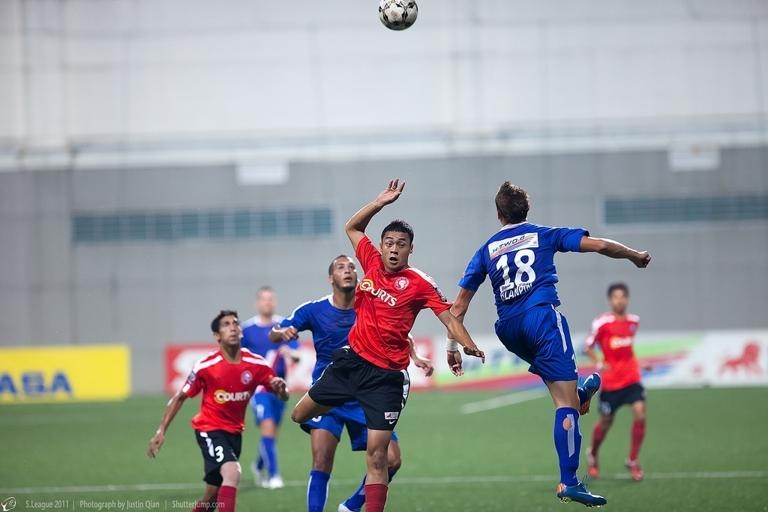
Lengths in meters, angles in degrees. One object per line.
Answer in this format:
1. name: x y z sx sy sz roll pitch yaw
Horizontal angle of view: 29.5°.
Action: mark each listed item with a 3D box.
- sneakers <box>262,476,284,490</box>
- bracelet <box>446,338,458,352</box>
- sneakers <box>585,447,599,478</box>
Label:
1. sneakers: -2.269 4.715 29.771 0.194 0.251 0.529 24 -26 -24
2. bracelet: 1.276 1.718 27.654 0.213 0.255 0.223 0 4 39
3. sneakers: 4.263 4.339 29.846 0.207 0.742 0.298 -3 -18 1
